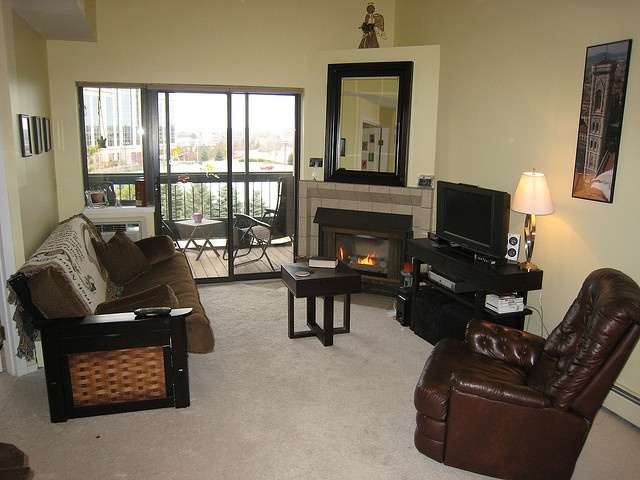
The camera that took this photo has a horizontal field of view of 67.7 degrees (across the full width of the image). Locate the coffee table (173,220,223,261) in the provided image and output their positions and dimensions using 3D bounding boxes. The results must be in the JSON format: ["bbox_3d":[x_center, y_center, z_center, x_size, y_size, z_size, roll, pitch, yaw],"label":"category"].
[{"bbox_3d":[-1.573,-0.076,6.156,0.481,0.469,0.493,-13,22,-35],"label":"coffee table"}]

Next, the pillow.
[{"bbox_3d":[-1.991,0.210,4.765,0.232,0.414,0.452,-11,12,14],"label":"pillow"}]

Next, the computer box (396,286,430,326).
[{"bbox_3d":[1.023,0.727,5.219,0.336,0.377,0.205,-3,13,-19],"label":"computer box"}]

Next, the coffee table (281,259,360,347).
[{"bbox_3d":[-0.048,0.637,4.974,0.779,0.779,0.784,-2,10,-14],"label":"coffee table"}]

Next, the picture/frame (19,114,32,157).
[{"bbox_3d":[-2.613,-0.913,4.207,0.026,0.390,0.334,0,5,-38],"label":"picture/frame"}]

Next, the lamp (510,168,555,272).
[{"bbox_3d":[1.895,-0.167,4.262,0.339,0.884,0.480,10,17,33],"label":"lamp"}]

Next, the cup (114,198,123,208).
[{"bbox_3d":[-2.441,-0.446,5.817,0.077,0.125,0.075,3,17,-1],"label":"cup"}]

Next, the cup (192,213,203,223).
[{"bbox_3d":[-1.563,-0.276,6.087,0.109,0.091,0.108,-3,12,1],"label":"cup"}]

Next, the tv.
[{"bbox_3d":[1.424,-0.167,4.460,0.115,0.520,0.659,-7,16,-25],"label":"tv"}]

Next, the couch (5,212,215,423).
[{"bbox_3d":[-1.704,0.580,4.150,1.363,1.217,1.477,-3,14,-12],"label":"couch"}]

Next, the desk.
[{"bbox_3d":[1.407,0.632,4.764,0.524,1.055,1.423,-3,14,-16],"label":"desk"}]
